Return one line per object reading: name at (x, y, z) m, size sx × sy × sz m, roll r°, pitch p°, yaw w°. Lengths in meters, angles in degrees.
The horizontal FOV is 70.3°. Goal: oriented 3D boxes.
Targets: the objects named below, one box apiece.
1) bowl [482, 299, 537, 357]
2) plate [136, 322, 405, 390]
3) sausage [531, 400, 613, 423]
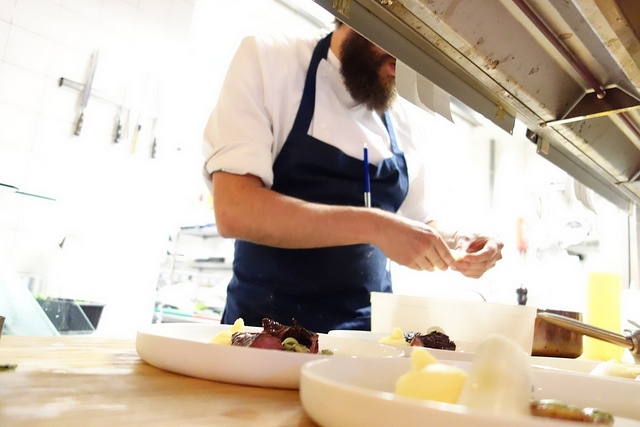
bowl at (0.504, 0.299, 1.192) m, size 0.112 × 0.123 × 0.058 m, roll 4°, pitch -8°, yaw 8°
plate at (-0.167, 0.265, 0.831) m, size 0.280 × 0.034 × 0.213 m, roll 7°, pitch -5°, yaw -4°
sausage at (0.370, 0.291, 0.665) m, size 0.127 × 0.021 × 0.044 m, roll 4°, pitch -8°, yaw 7°
